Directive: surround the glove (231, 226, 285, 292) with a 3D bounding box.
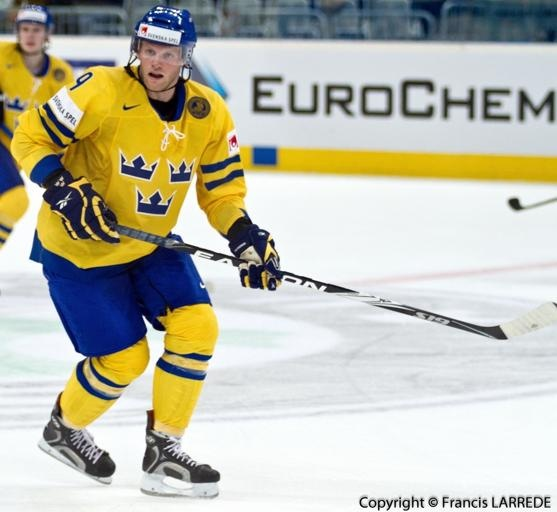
[{"bbox_3d":[-0.066,0.010,2.238,0.160,0.157,0.089,-5,-11,-36],"label":"glove"}]

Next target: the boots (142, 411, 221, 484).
[{"bbox_3d":[-0.242,0.520,2.157,0.281,0.157,0.087,1,3,34],"label":"boots"}]

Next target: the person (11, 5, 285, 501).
[{"bbox_3d":[-0.325,-0.007,2.118,0.668,1.268,0.476,-4,17,-13],"label":"person"}]

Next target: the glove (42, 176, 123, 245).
[{"bbox_3d":[-0.470,-0.115,2.046,0.217,0.133,0.064,42,10,-4],"label":"glove"}]

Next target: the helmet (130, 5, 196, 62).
[{"bbox_3d":[-0.297,-0.572,2.080,0.168,0.140,0.132,-2,15,-7],"label":"helmet"}]

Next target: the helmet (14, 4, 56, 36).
[{"bbox_3d":[-1.261,-1.248,4.268,0.155,0.123,0.170,5,32,-16],"label":"helmet"}]
